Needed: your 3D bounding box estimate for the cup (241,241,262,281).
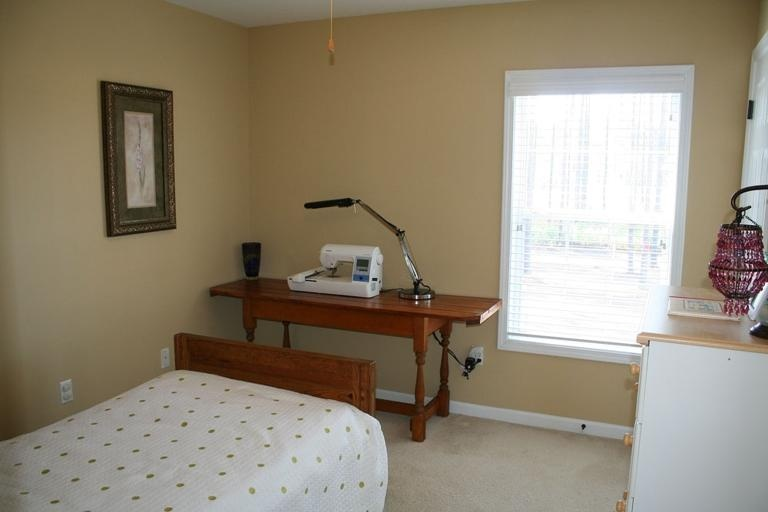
[{"bbox_3d":[-1.090,0.035,4.556,0.177,0.294,0.130,0,8,5],"label":"cup"}]
